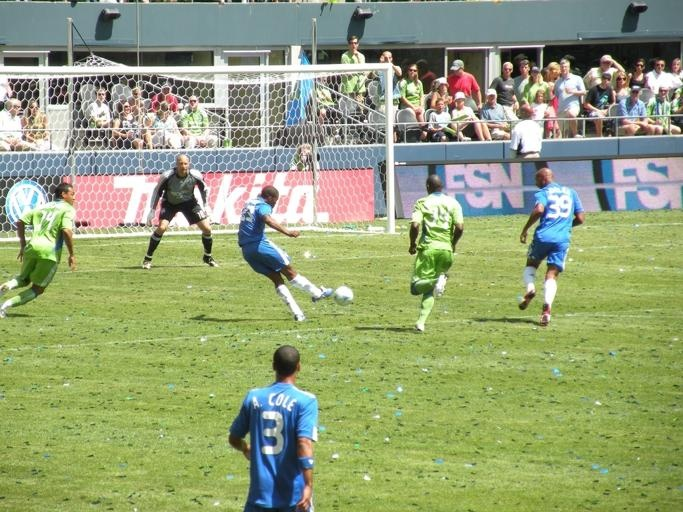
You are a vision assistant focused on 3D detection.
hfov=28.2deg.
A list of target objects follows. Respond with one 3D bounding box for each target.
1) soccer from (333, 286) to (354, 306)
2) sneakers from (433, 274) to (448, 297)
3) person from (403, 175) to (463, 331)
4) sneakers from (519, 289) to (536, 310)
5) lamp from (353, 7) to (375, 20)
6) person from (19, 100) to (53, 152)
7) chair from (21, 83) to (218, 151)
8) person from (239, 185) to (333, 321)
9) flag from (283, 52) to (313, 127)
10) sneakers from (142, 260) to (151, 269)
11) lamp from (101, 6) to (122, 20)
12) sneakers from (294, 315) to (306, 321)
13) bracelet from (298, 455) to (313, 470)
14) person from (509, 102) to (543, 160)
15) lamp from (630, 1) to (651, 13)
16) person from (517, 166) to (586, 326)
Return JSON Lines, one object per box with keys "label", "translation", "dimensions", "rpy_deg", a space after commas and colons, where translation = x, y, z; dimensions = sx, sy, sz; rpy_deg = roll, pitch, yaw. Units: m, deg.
{"label": "soccer", "translation": [-0.002, 0.690, 22.928], "dimensions": [0.288, 0.286, 0.291], "rpy_deg": [41, -31, -27]}
{"label": "sneakers", "translation": [1.606, 0.515, 22.765], "dimensions": [0.196, 0.391, 0.143], "rpy_deg": [19, -1, -3]}
{"label": "person", "translation": [1.490, -0.017, 22.882], "dimensions": [0.697, 2.582, 0.766], "rpy_deg": [6, 8, 40]}
{"label": "sneakers", "translation": [3.170, 0.785, 23.810], "dimensions": [0.159, 0.358, 0.129], "rpy_deg": [22, 15, -21]}
{"label": "lamp", "translation": [0.508, -6.626, 37.512], "dimensions": [0.467, 0.324, 0.311], "rpy_deg": [3, -14, -7]}
{"label": "person", "translation": [-7.003, -2.888, 31.478], "dimensions": [0.475, 0.810, 1.418], "rpy_deg": [-3, 26, -17]}
{"label": "chair", "translation": [-5.205, -3.287, 32.289], "dimensions": [4.501, 1.511, 2.174], "rpy_deg": [-1, 7, -13]}
{"label": "person", "translation": [-1.106, 0.011, 22.898], "dimensions": [1.256, 2.305, 0.639], "rpy_deg": [0, 6, -4]}
{"label": "flag", "translation": [-1.110, -3.701, 33.212], "dimensions": [0.493, 1.156, 1.349], "rpy_deg": [-1, 7, -11]}
{"label": "sneakers", "translation": [-3.856, 0.195, 26.922], "dimensions": [0.168, 0.165, 0.133], "rpy_deg": [-2, 1, -10]}
{"label": "lamp", "translation": [-6.044, -6.368, 35.836], "dimensions": [0.354, 0.260, 0.328], "rpy_deg": [0, 7, -20]}
{"label": "sneakers", "translation": [-0.729, 1.061, 23.028], "dimensions": [0.125, 0.123, 0.097], "rpy_deg": [16, 4, 7]}
{"label": "bracelet", "translation": [-0.469, 2.578, 16.859], "dimensions": [0.122, 0.152, 0.150], "rpy_deg": [-6, -35, -13]}
{"label": "person", "translation": [4.518, -3.117, 34.053], "dimensions": [0.785, 1.302, 1.559], "rpy_deg": [2, 7, 8]}
{"label": "lamp", "translation": [8.311, -7.073, 38.876], "dimensions": [0.500, 0.330, 0.288], "rpy_deg": [-1, 30, -4]}
{"label": "person", "translation": [3.441, -0.143, 23.402], "dimensions": [1.267, 2.627, 0.698], "rpy_deg": [-4, 8, -39]}
